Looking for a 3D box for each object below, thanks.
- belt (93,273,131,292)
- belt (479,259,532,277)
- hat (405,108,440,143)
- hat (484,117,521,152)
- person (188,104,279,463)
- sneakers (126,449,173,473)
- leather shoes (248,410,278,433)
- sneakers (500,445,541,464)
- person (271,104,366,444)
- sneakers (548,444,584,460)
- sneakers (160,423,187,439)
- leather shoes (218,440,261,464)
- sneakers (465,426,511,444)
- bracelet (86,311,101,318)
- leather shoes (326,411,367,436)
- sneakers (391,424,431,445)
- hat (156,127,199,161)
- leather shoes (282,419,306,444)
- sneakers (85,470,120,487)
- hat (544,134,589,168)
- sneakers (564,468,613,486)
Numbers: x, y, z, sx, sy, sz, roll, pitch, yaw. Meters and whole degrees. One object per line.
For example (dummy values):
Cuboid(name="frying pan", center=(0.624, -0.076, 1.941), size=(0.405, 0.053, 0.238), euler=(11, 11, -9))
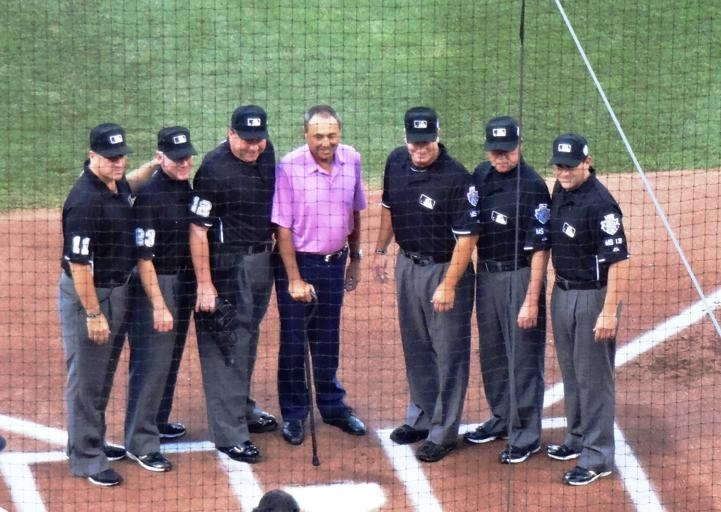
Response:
Cuboid(name="belt", center=(-2.393, 0.241, 13.733), size=(0.225, 0.127, 0.198), euler=(0, 4, -16))
Cuboid(name="belt", center=(1.413, 0.088, 14.108), size=(0.521, 0.145, 0.137), euler=(1, 18, 11))
Cuboid(name="hat", center=(0.601, -1.286, 13.941), size=(0.319, 0.324, 0.270), euler=(-3, 18, 0))
Cuboid(name="hat", center=(1.368, -1.253, 14.055), size=(0.436, 0.257, 0.515), euler=(5, 27, 5))
Cuboid(name="person", center=(-1.241, 0.265, 14.036), size=(0.774, 3.428, 1.128), euler=(-1, 20, 9))
Cuboid(name="sneakers", center=(-2.024, 1.984, 14.016), size=(0.489, 0.151, 0.176), euler=(7, 21, 5))
Cuboid(name="leather shoes", center=(-0.998, 1.674, 14.477), size=(0.353, 0.163, 0.127), euler=(2, -12, -10))
Cuboid(name="sneakers", center=(1.576, 1.927, 14.027), size=(0.475, 0.158, 0.159), euler=(-3, 5, -27))
Cuboid(name="person", center=(-0.429, 0.158, 14.257), size=(0.916, 3.298, 1.205), euler=(-1, 19, 7))
Cuboid(name="sneakers", center=(2.012, 1.917, 14.078), size=(0.370, 0.123, 0.127), euler=(5, 8, -1))
Cuboid(name="sneakers", center=(-1.890, 1.736, 14.347), size=(0.343, 0.123, 0.103), euler=(-3, 35, -8))
Cuboid(name="leather shoes", center=(-1.161, 1.924, 14.068), size=(0.524, 0.167, 0.170), euler=(1, 10, 9))
Cuboid(name="sneakers", center=(1.304, 1.796, 14.387), size=(0.467, 0.139, 0.157), euler=(1, 0, -7))
Cuboid(name="bracelet", center=(-2.541, 0.546, 13.629), size=(0.128, 0.064, 0.032), euler=(-5, 19, -8))
Cuboid(name="leather shoes", center=(-0.115, 1.676, 14.424), size=(0.455, 0.144, 0.196), euler=(10, 25, 22))
Cuboid(name="sneakers", center=(0.500, 1.783, 14.311), size=(0.348, 0.100, 0.172), euler=(2, 4, -4))
Cuboid(name="hat", center=(-1.760, -1.138, 13.841), size=(0.393, 0.225, 0.495), euler=(-13, 28, -17))
Cuboid(name="leather shoes", center=(-0.668, 1.752, 14.365), size=(0.168, 0.104, 0.280), euler=(-2, 36, -6))
Cuboid(name="sneakers", center=(-2.460, 2.136, 13.791), size=(0.365, 0.121, 0.138), euler=(-1, 1, 11))
Cuboid(name="hat", center=(2.029, -1.066, 13.874), size=(0.384, 0.240, 0.535), euler=(11, 26, 30))
Cuboid(name="sneakers", center=(2.203, 2.114, 13.804), size=(0.454, 0.142, 0.155), euler=(1, 6, -12))
